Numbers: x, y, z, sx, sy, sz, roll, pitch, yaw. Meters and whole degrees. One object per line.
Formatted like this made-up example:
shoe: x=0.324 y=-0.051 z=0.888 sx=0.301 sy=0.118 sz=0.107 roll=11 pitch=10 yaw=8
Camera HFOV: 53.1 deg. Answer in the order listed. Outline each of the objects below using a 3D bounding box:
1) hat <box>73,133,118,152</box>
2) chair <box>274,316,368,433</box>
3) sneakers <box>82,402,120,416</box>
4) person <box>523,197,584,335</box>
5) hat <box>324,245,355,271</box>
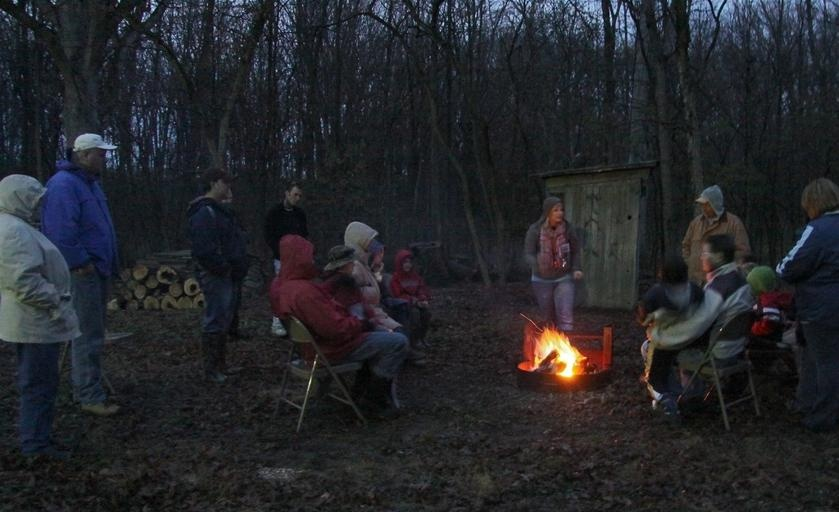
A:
hat: x=-5.362 y=-1.817 z=14.031 sx=0.654 sy=0.269 sz=0.415 roll=-2 pitch=8 yaw=-26
chair: x=-1.551 y=1.766 z=14.229 sx=1.536 sy=1.946 sz=1.350 roll=-12 pitch=26 yaw=-40
sneakers: x=-5.264 y=2.505 z=14.073 sx=0.608 sy=0.303 sz=0.241 roll=-1 pitch=3 yaw=-10
person: x=2.484 y=0.154 z=15.661 sx=1.005 sy=2.479 sz=0.609 roll=-1 pitch=6 yaw=6
hat: x=-1.347 y=0.028 z=14.322 sx=0.412 sy=0.212 sz=0.423 roll=-23 pitch=6 yaw=-5
